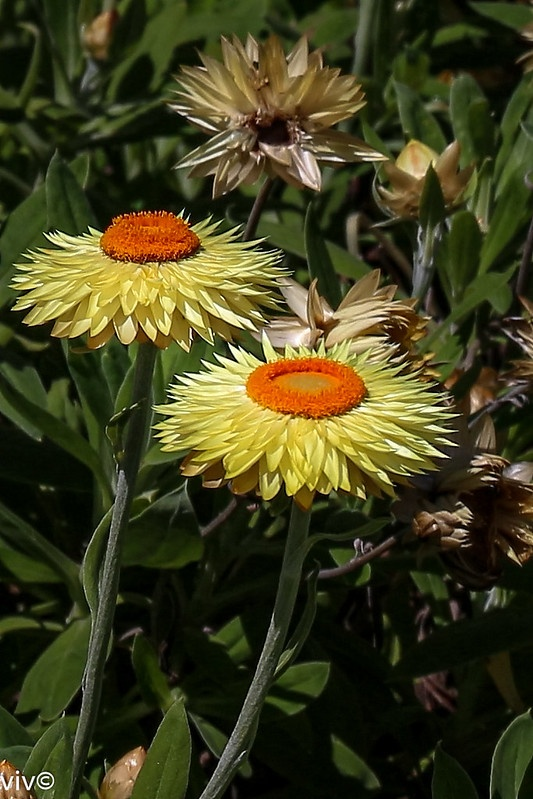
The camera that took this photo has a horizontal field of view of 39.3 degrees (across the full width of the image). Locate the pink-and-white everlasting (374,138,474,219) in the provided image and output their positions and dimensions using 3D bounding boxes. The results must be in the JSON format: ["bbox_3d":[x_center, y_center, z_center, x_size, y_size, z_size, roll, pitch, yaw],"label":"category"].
[{"bbox_3d":[0.143,-0.248,0.807,0.077,0.043,0.093,-5,32,7],"label":"pink-and-white everlasting"}]

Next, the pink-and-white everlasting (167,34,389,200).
[{"bbox_3d":[0.003,-0.246,0.664,0.173,0.133,0.166,-5,43,-6],"label":"pink-and-white everlasting"}]
